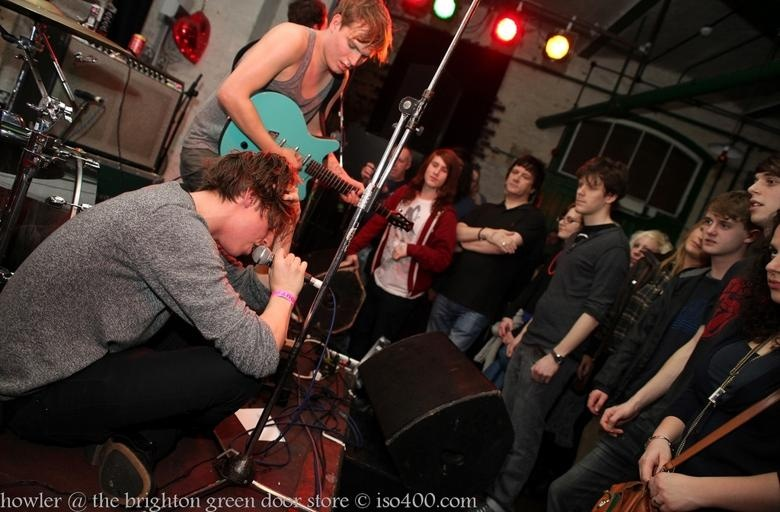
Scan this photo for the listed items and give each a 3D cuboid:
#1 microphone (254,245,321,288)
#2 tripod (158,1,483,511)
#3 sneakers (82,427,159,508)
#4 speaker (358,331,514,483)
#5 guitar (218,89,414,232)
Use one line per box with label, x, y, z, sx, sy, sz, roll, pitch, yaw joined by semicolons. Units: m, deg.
microphone;-0.561;0.059;2.835;0.346;0.092;0.094;30;41;-1
tripod;-0.223;-0.110;2.503;0.315;2.464;1.121;22;15;11
sneakers;-1.141;0.877;2.238;0.239;0.325;0.101;-1;7;21
speaker;0.393;0.792;2.893;0.642;0.580;0.766;49;-2;-34
guitar;-0.479;-0.589;3.491;0.214;0.576;1.567;29;7;33
